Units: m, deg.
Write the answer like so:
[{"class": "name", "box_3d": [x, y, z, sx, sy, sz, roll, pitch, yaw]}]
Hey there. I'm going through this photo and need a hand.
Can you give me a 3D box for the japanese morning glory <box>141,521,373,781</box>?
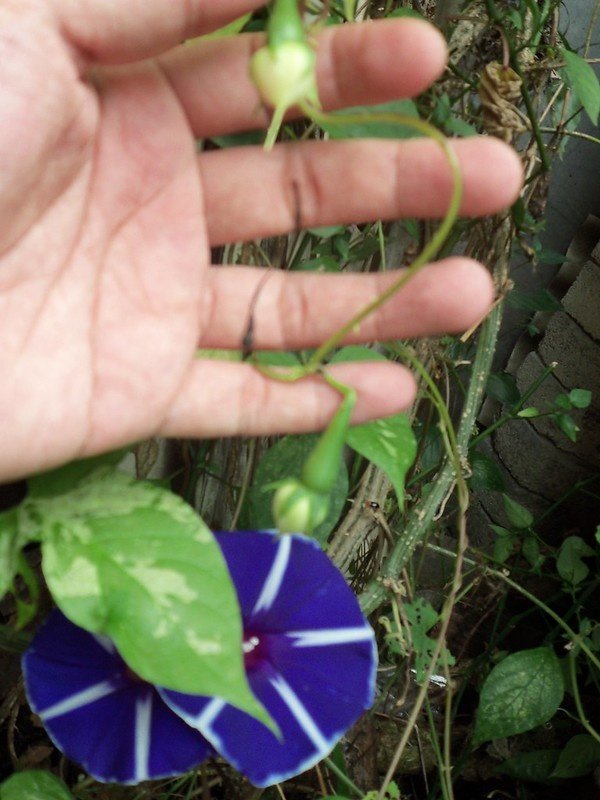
[{"class": "japanese morning glory", "box_3d": [-0.010, 0.183, 0.565, 0.198, 0.068, 0.166, 1, 66, -7]}]
